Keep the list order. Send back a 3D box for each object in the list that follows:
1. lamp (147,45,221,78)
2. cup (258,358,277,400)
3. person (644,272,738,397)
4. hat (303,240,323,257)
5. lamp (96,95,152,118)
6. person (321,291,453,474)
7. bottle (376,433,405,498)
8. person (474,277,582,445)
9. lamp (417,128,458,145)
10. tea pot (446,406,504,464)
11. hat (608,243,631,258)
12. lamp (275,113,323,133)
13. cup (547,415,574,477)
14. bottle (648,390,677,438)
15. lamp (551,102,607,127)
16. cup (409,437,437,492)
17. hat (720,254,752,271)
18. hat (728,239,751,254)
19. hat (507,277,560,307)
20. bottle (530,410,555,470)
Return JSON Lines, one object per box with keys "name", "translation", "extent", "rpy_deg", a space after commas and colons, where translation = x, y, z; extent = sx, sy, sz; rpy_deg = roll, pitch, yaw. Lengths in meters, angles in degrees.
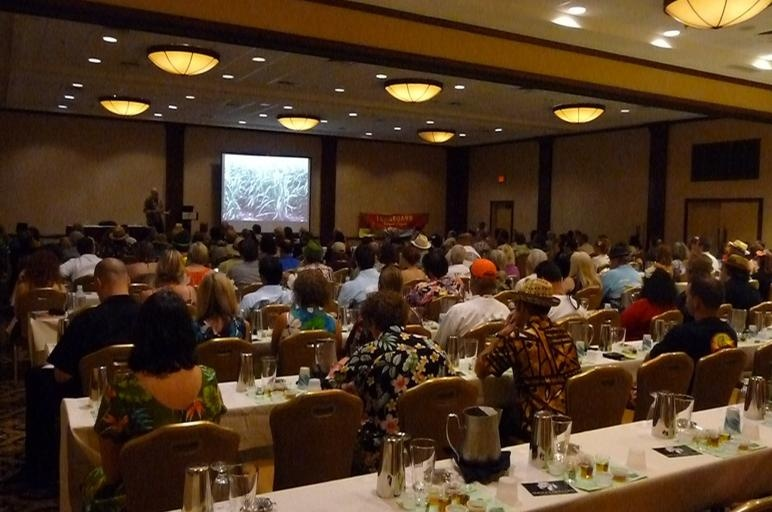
{"name": "lamp", "translation": [-3.495, -3.389, 9.787], "extent": [1.104, 0.373, 0.479], "rpy_deg": [2, 2, 5]}
{"name": "cup", "translation": [-0.885, 0.909, 4.336], "extent": [0.164, 0.253, 0.178], "rpy_deg": [0, -9, 0]}
{"name": "person", "translation": [2.660, 0.593, 4.862], "extent": [0.960, 0.885, 0.508], "rpy_deg": [-1, 7, -26]}
{"name": "hat", "translation": [-1.034, -0.116, 8.107], "extent": [0.194, 0.209, 0.300], "rpy_deg": [1, 7, 3]}
{"name": "lamp", "translation": [-6.168, -3.608, 13.466], "extent": [0.977, 0.307, 0.706], "rpy_deg": [2, 2, 11]}
{"name": "person", "translation": [-0.004, 0.845, 3.771], "extent": [0.786, 1.208, 0.378], "rpy_deg": [2, 2, 15]}
{"name": "bottle", "translation": [0.026, 1.037, 2.830], "extent": [0.141, 0.313, 0.090], "rpy_deg": [1, 2, -3]}
{"name": "person", "translation": [1.094, 0.762, 4.271], "extent": [0.607, 1.323, 0.609], "rpy_deg": [-13, 24, -11]}
{"name": "lamp", "translation": [1.536, -3.731, 17.478], "extent": [1.104, 0.285, 0.872], "rpy_deg": [2, 2, 9]}
{"name": "tea pot", "translation": [0.450, 0.958, 3.013], "extent": [0.317, 0.272, 0.208], "rpy_deg": [1, -3, -11]}
{"name": "hat", "translation": [4.453, -0.121, 10.905], "extent": [0.352, 0.173, 0.437], "rpy_deg": [-11, 1, 7]}
{"name": "lamp", "translation": [-2.345, -3.678, 15.483], "extent": [1.097, 0.270, 0.627], "rpy_deg": [2, 2, 7]}
{"name": "cup", "translation": [0.928, 1.008, 3.052], "extent": [0.107, 0.290, 0.151], "rpy_deg": [2, 2, 19]}
{"name": "bottle", "translation": [1.636, 0.936, 3.401], "extent": [0.136, 0.280, 0.160], "rpy_deg": [0, 2, -42]}
{"name": "lamp", "translation": [4.408, -3.343, 13.105], "extent": [0.779, 0.249, 0.827], "rpy_deg": [-2, -2, 31]}
{"name": "cup", "translation": [0.178, 1.038, 2.830], "extent": [0.132, 0.241, 0.112], "rpy_deg": [2, 2, 20]}
{"name": "hat", "translation": [4.374, 0.065, 7.147], "extent": [0.206, 0.089, 0.254], "rpy_deg": [20, 4, 0]}
{"name": "hat", "translation": [6.499, -0.181, 10.491], "extent": [0.386, 0.142, 0.360], "rpy_deg": [6, 8, -37]}
{"name": "hat", "translation": [1.047, 0.208, 4.139], "extent": [0.233, 0.124, 0.287], "rpy_deg": [4, 2, -20]}
{"name": "bottle", "translation": [0.845, 0.996, 3.103], "extent": [0.157, 0.275, 0.166], "rpy_deg": [0, 6, 0]}
